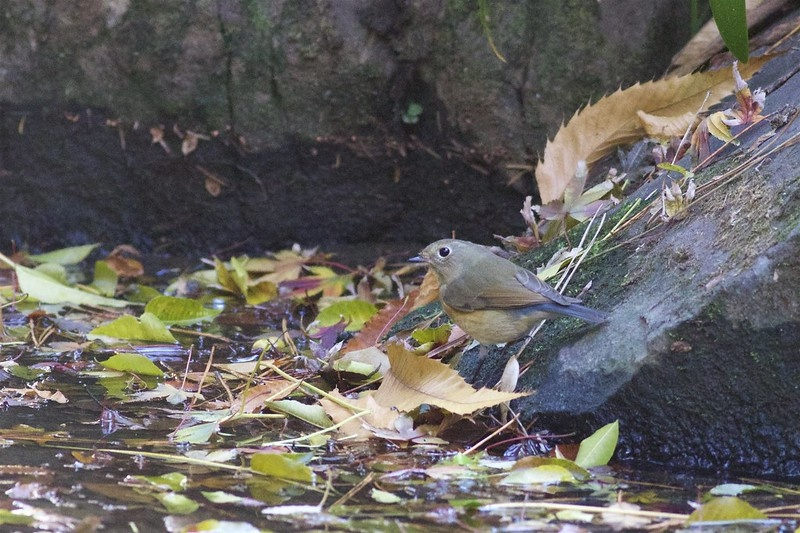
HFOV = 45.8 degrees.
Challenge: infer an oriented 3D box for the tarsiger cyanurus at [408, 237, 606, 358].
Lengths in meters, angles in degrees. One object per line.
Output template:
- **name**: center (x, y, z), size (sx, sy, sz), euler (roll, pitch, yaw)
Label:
- **tarsiger cyanurus**: center (0.587, 0.108, 5.027), size (0.997, 0.555, 0.390), euler (11, 53, 35)
